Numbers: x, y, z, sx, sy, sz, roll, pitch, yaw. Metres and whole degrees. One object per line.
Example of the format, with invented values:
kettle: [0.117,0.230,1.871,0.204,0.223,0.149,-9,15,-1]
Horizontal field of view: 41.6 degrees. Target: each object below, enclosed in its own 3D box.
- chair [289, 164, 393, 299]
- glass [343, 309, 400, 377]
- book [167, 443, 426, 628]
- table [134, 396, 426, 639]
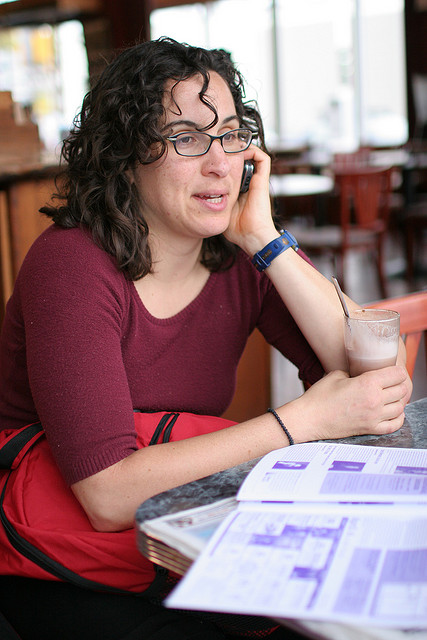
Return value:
chair: [0.958,-0.595,4.043,0.736,0.917,0.473,-5,4,-1]
glass: [0.270,0.042,0.983,0.087,0.115,0.125,-5,4,-9]
book: [0.115,0.183,0.546,0.190,0.027,0.384,-3,4,17]
table: [0.028,0.187,0.570,0.326,0.074,0.210,-12,14,-40]
